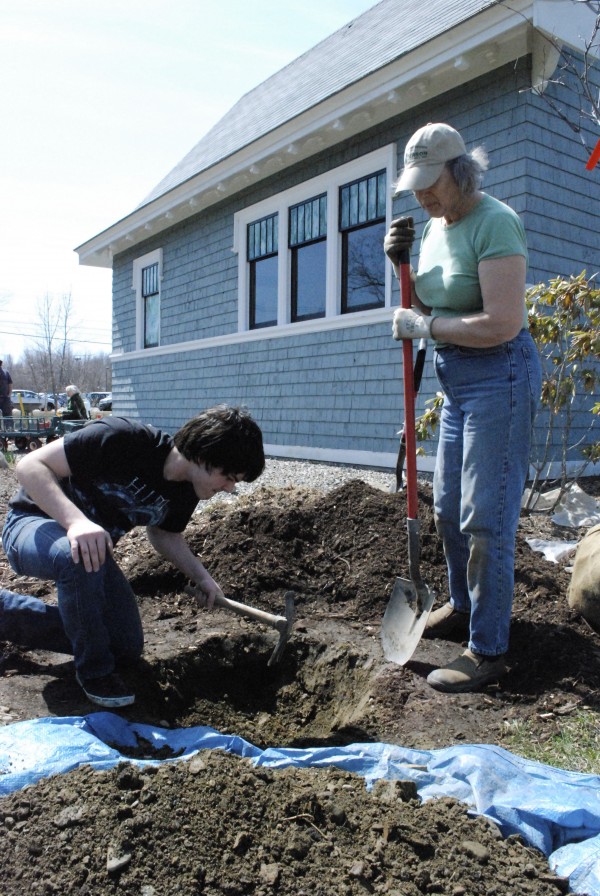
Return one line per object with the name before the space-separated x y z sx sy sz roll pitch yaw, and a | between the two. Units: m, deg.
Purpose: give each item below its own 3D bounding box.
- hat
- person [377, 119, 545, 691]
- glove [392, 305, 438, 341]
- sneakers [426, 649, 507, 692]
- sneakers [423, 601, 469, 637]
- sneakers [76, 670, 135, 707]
hat | 0.499 -1.064 3.233 0.303 0.167 0.202 -46 31 -17
person | 0.665 -0.175 3.370 0.553 2.128 0.621 -2 4 6
glove | 0.465 -0.502 3.445 0.183 0.070 0.124 5 -10 46
sneakers | 0.629 0.848 3.214 0.308 0.118 0.119 -5 -3 -28
sneakers | 0.643 0.761 3.700 0.254 0.101 0.098 -2 0 4
sneakers | -0.693 0.857 3.052 0.186 0.142 0.206 -3 4 -15
